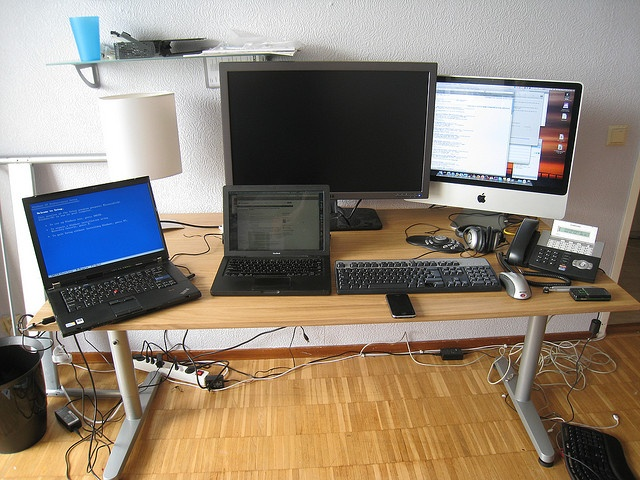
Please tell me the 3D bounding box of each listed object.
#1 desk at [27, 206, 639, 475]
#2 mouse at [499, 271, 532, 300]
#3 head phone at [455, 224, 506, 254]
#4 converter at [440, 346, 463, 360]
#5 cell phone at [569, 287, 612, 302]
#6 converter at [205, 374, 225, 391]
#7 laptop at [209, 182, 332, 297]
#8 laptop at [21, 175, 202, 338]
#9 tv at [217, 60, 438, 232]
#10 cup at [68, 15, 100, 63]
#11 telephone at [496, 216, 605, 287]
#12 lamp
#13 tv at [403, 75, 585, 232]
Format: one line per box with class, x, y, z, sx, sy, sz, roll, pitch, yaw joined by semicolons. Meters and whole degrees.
desk;0.183;0.751;2.708;3.512;1.134;1.049;-1;34;-1
mouse;0.718;0.168;1.770;0.078;0.033;0.112;1;26;2
head phone;0.669;-0.004;2.050;0.149;0.049;0.147;2;15;-13
converter;0.715;0.619;2.631;0.141;0.052;0.054;1;46;1
cell phone;0.975;0.198;1.766;0.120;0.020;0.054;2;27;3
converter;-0.537;0.722;2.475;0.136;0.071;0.052;3;63;-8
laptop;-0.182;0.001;1.840;0.516;0.253;0.366;3;37;7
laptop;-0.737;0.064;1.751;0.562;0.293;0.460;-3;45;-27
tv;0.021;-0.406;1.996;1.124;0.670;0.231;0;32;0
cup;-0.965;-0.828;2.011;0.102;0.168;0.048;-6;29;-16
telephone;0.927;0.048;1.900;0.354;0.100;0.286;11;40;29
lamp;-0.691;-0.451;2.108;0.422;0.253;0.396;4;9;34
tv;0.716;-0.384;2.062;0.868;0.594;0.230;-1;27;-30
